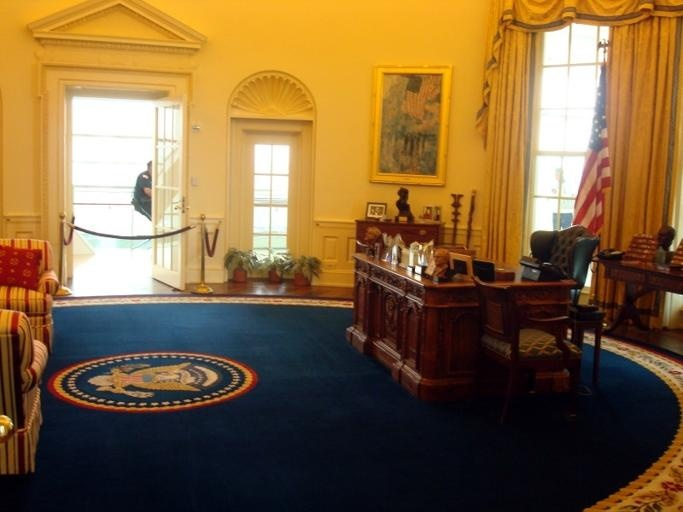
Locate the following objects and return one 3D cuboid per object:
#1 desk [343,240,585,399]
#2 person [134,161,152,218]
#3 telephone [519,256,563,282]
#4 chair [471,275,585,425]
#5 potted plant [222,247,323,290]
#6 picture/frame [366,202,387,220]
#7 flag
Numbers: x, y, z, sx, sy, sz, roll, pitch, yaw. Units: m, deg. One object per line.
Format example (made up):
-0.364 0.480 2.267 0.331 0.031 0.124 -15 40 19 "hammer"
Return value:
0.953 0.145 4.720 1.085 0.971 2.000 -2 7 -18 "desk"
-4.299 -1.394 10.994 0.363 1.112 0.432 -2 10 -25 "person"
1.709 0.055 4.453 0.221 0.186 0.304 -8 8 -11 "telephone"
1.439 0.684 4.616 1.036 1.511 1.009 -3 5 -14 "chair"
-1.144 0.171 8.745 1.592 0.543 0.639 3 9 3 "potted plant"
0.554 -0.713 8.270 0.286 0.283 0.022 2 -15 1 "picture/frame"
3.226 -1.348 6.443 0.357 2.141 0.571 8 10 32 "flag"
